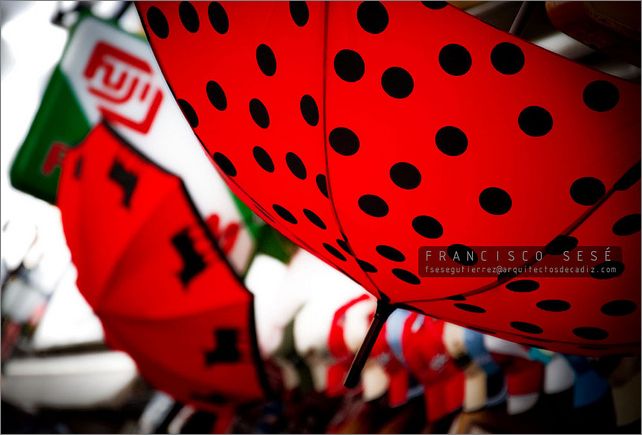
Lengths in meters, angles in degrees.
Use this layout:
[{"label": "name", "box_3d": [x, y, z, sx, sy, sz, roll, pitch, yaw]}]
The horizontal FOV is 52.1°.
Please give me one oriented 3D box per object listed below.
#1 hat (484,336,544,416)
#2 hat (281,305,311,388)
[{"label": "hat", "box_3d": [0.512, 0.412, 1.771, 0.071, 0.154, 0.217, 15, -2, 29]}, {"label": "hat", "box_3d": [-0.064, 0.368, 1.724, 0.040, 0.138, 0.091, 1, 9, 10]}]
